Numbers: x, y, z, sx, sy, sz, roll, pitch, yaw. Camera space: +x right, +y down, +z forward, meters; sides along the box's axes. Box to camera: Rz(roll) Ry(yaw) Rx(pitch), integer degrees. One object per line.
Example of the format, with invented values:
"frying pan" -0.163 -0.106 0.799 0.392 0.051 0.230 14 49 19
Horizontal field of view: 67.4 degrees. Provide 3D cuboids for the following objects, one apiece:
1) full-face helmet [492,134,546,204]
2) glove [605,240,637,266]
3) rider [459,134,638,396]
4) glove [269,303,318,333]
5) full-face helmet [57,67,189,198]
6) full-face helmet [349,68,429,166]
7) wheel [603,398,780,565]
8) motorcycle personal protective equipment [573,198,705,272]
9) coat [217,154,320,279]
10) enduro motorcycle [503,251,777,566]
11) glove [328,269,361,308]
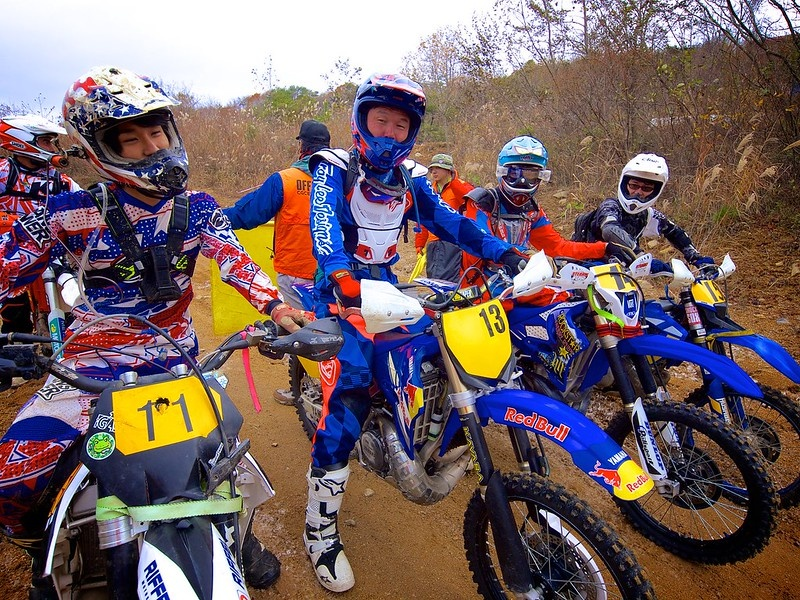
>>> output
"full-face helmet" 1.071 -1.150 5.353 0.443 0.589 0.595 7 17 2
"glove" 1.677 -0.358 4.626 0.112 0.076 0.190 32 5 30
"rider" 1.010 -0.456 5.356 1.059 1.970 1.309 2 18 -13
"glove" -0.619 0.095 3.391 0.194 0.066 0.160 31 39 21
"full-face helmet" -1.613 -1.001 3.523 0.757 0.676 0.572 19 35 23
"full-face helmet" -0.107 -1.207 4.076 0.452 0.625 0.603 2 10 -30
"wheel" 2.067 1.327 4.411 0.299 1.255 1.157 -21 34 -39
"motorcycle personal protective equipment" 2.103 -0.600 5.440 0.719 0.597 1.213 2 8 6
"coat" -1.014 -0.824 5.815 1.500 1.084 0.481 -7 23 -42
"enduro motorcycle" 1.541 0.720 4.972 1.136 1.845 2.799 -5 12 -45
"glove" -0.312 -0.065 3.527 0.144 0.100 0.260 -17 69 -32
